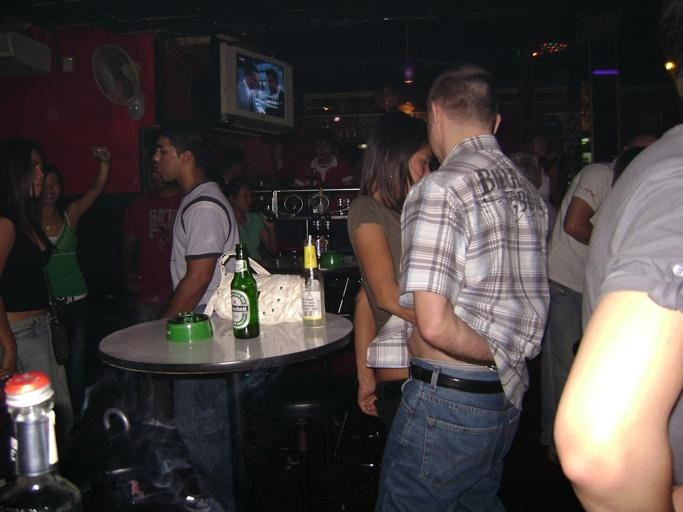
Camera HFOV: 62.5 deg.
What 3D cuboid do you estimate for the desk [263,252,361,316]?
[{"bbox_3d":[-0.128,0.223,4.515,0.595,0.367,0.572,0,3,3],"label":"desk"}]
